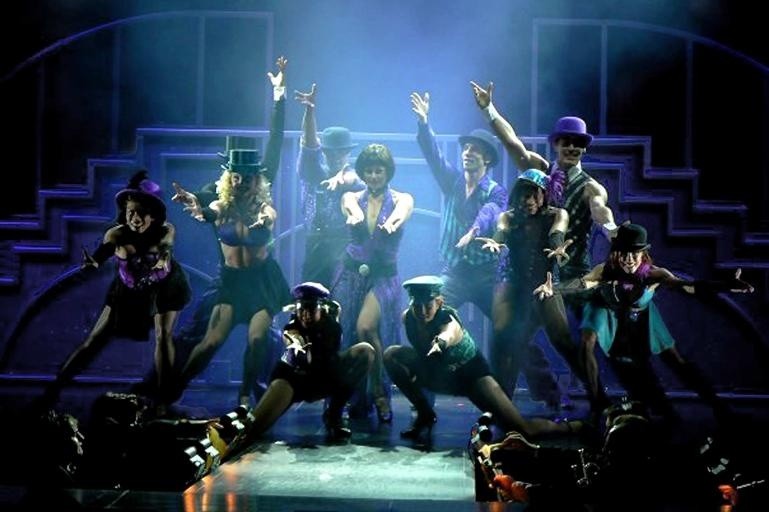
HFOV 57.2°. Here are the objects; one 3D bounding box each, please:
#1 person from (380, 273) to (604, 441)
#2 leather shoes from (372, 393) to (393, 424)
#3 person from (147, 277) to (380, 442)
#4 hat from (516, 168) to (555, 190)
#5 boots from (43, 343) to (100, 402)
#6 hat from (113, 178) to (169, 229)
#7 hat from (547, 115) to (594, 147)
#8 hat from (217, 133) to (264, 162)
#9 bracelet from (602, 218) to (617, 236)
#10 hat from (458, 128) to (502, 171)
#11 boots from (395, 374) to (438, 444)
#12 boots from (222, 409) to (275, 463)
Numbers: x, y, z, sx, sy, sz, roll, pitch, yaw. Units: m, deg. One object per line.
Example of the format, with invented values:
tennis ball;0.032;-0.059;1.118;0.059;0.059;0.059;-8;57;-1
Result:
person;0.667;0.821;5.525;1.400;0.767;1.253;28;-28;-26
leather shoes;-0.009;1.272;5.891;0.097;0.287;0.115;-2;1;-7
person;-0.547;0.803;5.374;0.932;1.150;0.485;-1;12;-5
hat;1.198;-0.626;5.584;0.229;0.100;0.165;27;-2;-41
boots;-2.619;0.899;6.000;0.584;0.167;0.129;-34;3;46
hat;-2.004;-0.454;5.781;0.372;0.367;0.184;-2;12;-12
hat;1.528;-1.051;5.861;0.296;0.157;0.333;4;-6;8
hat;-1.332;-1.056;6.557;0.362;0.257;0.364;1;5;-7
bracelet;1.741;-0.217;5.521;0.099;0.104;0.119;-3;-1;-15
hat;0.901;-1.020;6.349;0.351;0.152;0.407;23;-14;28
boots;0.245;1.187;5.573;0.291;0.449;0.109;-3;-2;-8
boots;-1.003;1.302;5.172;0.258;0.193;0.350;0;-6;-5
